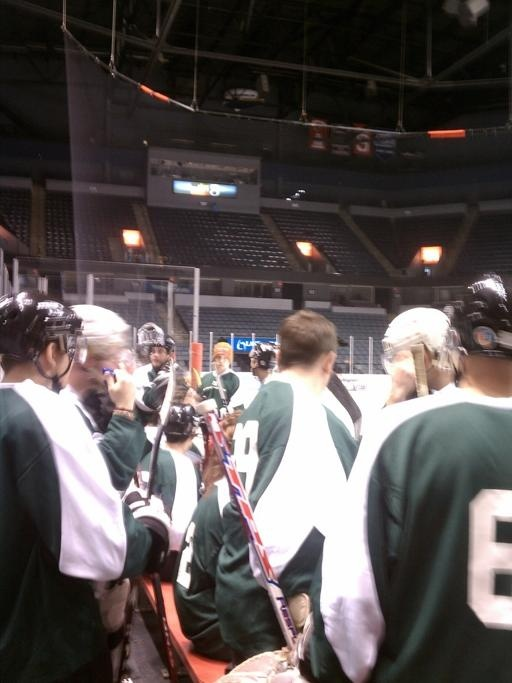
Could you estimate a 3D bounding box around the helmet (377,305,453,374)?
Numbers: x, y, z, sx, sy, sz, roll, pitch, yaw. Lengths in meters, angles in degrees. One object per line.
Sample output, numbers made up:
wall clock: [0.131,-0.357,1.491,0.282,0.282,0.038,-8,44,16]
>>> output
helmet: [0.478,-0.014,1.912,0.212,0.196,0.162,6,-3,12]

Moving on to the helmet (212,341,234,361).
helmet: [-0.341,0.091,6.382,0.168,0.194,0.211,1,-15,1]

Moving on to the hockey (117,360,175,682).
hockey: [-0.352,0.624,2.034,0.035,1.227,0.094,-1,17,17]

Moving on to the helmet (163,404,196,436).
helmet: [-0.329,0.341,2.717,0.122,0.133,0.136,2,23,7]

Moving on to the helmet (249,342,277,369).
helmet: [0.037,0.092,4.171,0.180,0.161,0.135,-11,-1,15]
